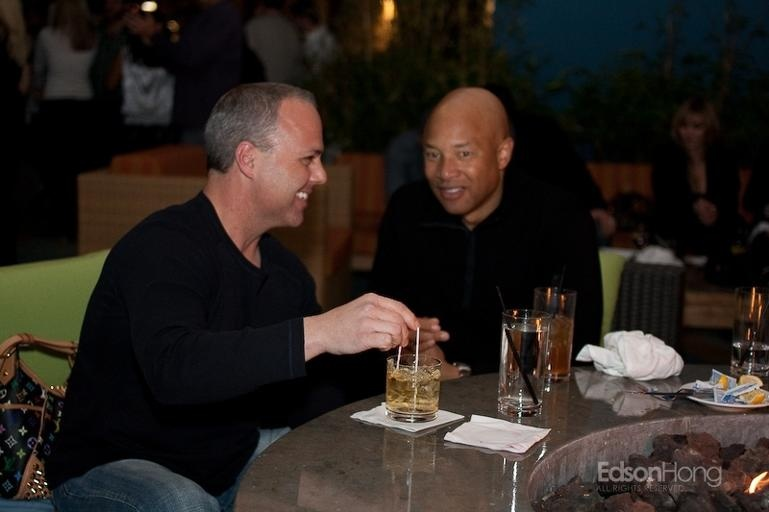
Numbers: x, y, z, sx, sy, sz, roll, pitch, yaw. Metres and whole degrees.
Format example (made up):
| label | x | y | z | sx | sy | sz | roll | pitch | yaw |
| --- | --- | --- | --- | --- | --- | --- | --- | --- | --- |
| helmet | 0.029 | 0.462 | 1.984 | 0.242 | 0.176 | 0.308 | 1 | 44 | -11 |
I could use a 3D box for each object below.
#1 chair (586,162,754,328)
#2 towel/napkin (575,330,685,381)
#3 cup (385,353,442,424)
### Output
| label | x | y | z | sx | sy | sz | roll | pitch | yaw |
| --- | --- | --- | --- | --- | --- | --- | --- | --- | --- |
| chair | 1.374 | -0.058 | 3.413 | 0.720 | 0.405 | 1.041 | -2 | 15 | 9 |
| towel/napkin | 0.667 | 0.240 | 1.847 | 0.215 | 0.072 | 0.144 | -4 | 12 | -9 |
| cup | 0.068 | 0.307 | 1.683 | 0.150 | 0.150 | 0.144 | 2 | 6 | 0 |
